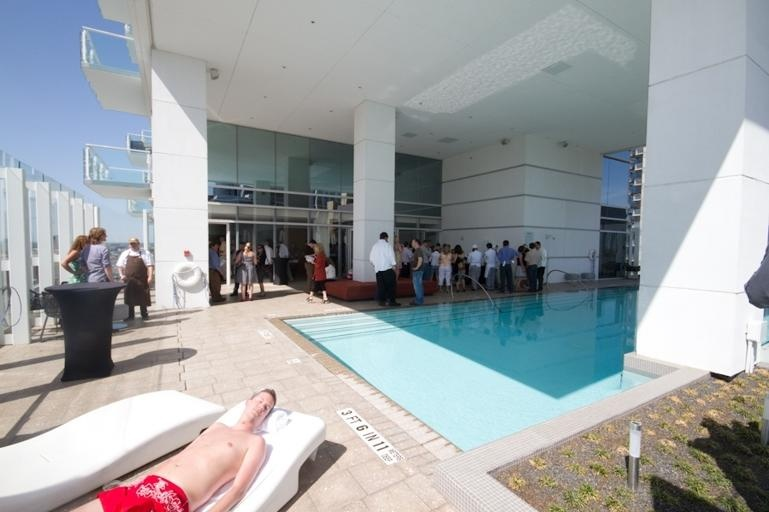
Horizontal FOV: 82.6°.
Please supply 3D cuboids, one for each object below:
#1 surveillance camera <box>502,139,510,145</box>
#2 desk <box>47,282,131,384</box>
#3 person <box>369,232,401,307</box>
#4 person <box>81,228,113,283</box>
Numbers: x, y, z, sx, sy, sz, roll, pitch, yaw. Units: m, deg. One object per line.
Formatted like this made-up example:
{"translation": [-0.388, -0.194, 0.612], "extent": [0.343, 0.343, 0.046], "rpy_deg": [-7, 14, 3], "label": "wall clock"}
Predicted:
{"translation": [4.909, -4.653, 17.941], "extent": [0.288, 0.184, 0.272], "rpy_deg": [0, 3, -12], "label": "surveillance camera"}
{"translation": [-5.099, 1.337, 7.506], "extent": [1.244, 1.488, 1.120], "rpy_deg": [1, -3, -42], "label": "desk"}
{"translation": [-0.012, 0.403, 12.352], "extent": [0.725, 2.060, 0.742], "rpy_deg": [0, 3, 2], "label": "person"}
{"translation": [-5.847, -0.010, 8.950], "extent": [0.462, 1.078, 1.011], "rpy_deg": [-2, 4, -35], "label": "person"}
